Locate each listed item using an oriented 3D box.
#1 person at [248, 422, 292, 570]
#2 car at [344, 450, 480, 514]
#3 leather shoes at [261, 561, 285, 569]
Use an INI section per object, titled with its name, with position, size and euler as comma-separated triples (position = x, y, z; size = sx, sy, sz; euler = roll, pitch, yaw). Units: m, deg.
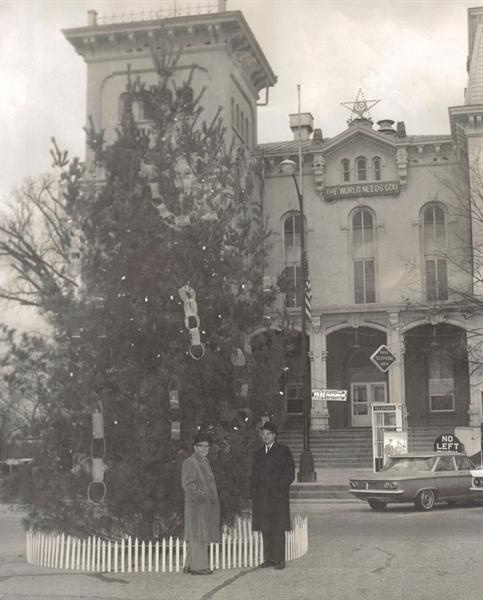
[person]
position = 0.342, 2.273, 13.935
size = 0.515, 1.667, 0.622
euler = 0, -1, 18
[car]
position = 3.216, 3.404, 22.306
size = 2.495, 0.982, 1.158
euler = 2, -2, -39
[leather shoes]
position = 0.344, 3.067, 13.677
size = 0.321, 0.076, 0.179
euler = -1, -2, 26
